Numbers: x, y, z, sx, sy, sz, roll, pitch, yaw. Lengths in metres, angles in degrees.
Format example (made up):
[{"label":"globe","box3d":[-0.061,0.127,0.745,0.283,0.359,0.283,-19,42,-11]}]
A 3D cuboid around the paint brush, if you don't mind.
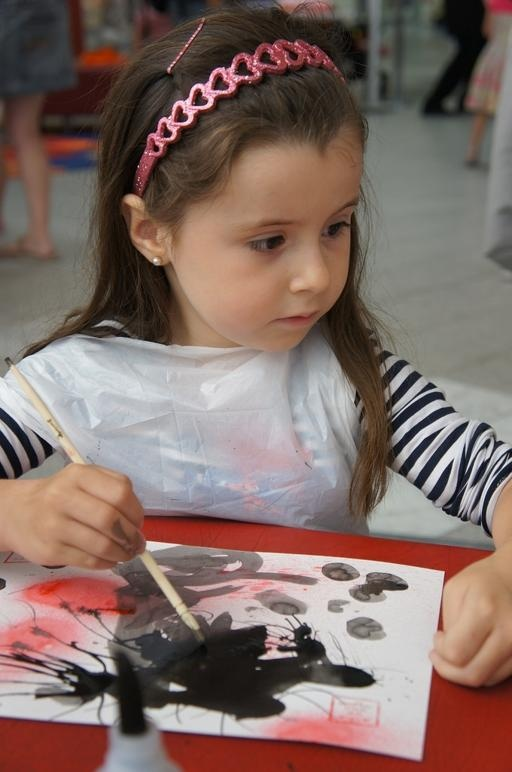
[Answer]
[{"label":"paint brush","box3d":[-0.122,0.096,0.595,0.272,0.014,0.013,48,10,27]}]
